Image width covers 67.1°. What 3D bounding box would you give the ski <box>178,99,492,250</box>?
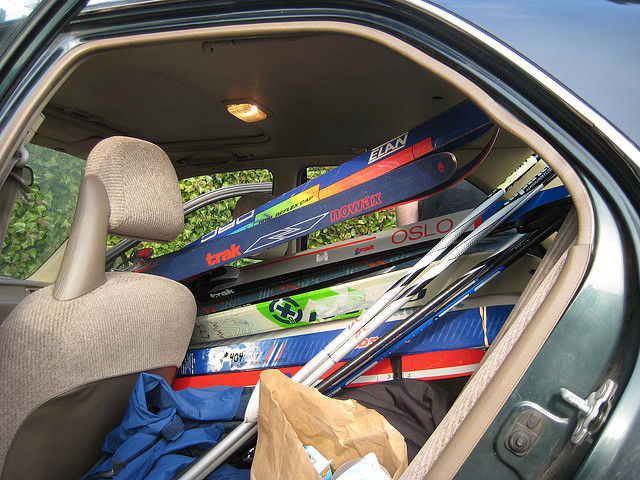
[{"bbox_3d":[0.069,-0.379,2.544,1.747,0.175,0.196,-24,-22,28],"label":"ski"}]

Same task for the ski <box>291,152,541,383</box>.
[{"bbox_3d":[0.401,0.119,2.001,0.087,1.636,0.116,50,-5,16],"label":"ski"}]

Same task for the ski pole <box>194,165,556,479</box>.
[{"bbox_3d":[0.203,0.289,1.815,0.089,2.271,0.075,55,1,8],"label":"ski pole"}]
